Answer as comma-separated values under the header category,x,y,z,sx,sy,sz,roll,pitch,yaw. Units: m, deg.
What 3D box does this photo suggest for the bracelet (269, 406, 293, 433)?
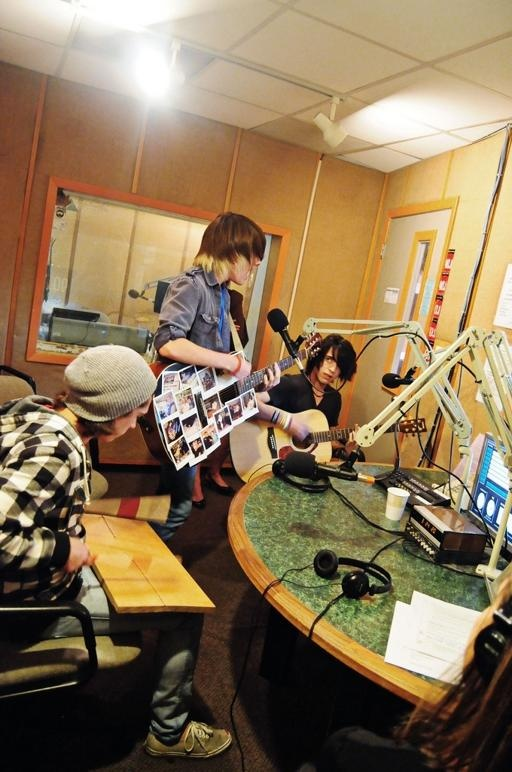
category,x,y,z,sx,sy,sz,roll,pitch,yaw
bracelet,0.151,0.197,3.180,0.107,0.141,0.060,-3,3,-27

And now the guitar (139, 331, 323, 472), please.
category,x,y,z,sx,sy,sz,roll,pitch,yaw
guitar,-0.157,0.033,2.109,0.737,0.100,0.312,-35,-29,30

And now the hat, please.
category,x,y,z,sx,sy,sz,roll,pitch,yaw
hat,-0.346,-0.020,1.280,0.204,0.166,0.207,8,15,32

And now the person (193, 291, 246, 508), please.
category,x,y,z,sx,sy,sz,roll,pitch,yaw
person,-0.194,0.108,3.573,0.172,1.272,0.503,-5,-2,36

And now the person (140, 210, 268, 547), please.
category,x,y,z,sx,sy,sz,roll,pitch,yaw
person,-0.199,0.004,2.404,0.432,1.470,0.489,15,15,24

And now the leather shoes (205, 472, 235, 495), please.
category,x,y,z,sx,sy,sz,roll,pitch,yaw
leather shoes,-0.263,0.688,3.829,0.266,0.106,0.090,12,5,39

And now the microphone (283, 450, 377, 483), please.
category,x,y,z,sx,sy,sz,roll,pitch,yaw
microphone,0.316,0.352,2.354,0.409,0.118,0.125,8,15,-7

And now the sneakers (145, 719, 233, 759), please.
category,x,y,z,sx,sy,sz,roll,pitch,yaw
sneakers,-0.203,1.012,1.605,0.241,0.105,0.101,2,1,-13

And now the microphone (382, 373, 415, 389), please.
category,x,y,z,sx,sy,sz,roll,pitch,yaw
microphone,0.506,-0.021,1.943,0.085,0.063,0.197,11,9,9

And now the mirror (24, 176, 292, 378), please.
category,x,y,z,sx,sy,sz,roll,pitch,yaw
mirror,-0.835,-0.661,3.828,1.962,1.408,0.074,10,19,-9
